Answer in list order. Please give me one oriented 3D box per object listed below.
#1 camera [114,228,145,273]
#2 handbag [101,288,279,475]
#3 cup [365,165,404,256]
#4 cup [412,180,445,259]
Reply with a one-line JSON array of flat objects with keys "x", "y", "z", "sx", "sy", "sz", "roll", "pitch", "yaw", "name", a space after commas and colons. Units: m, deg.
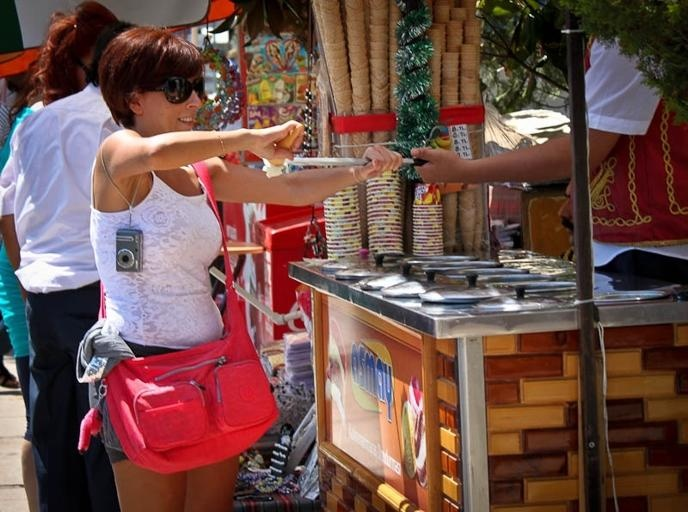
[{"x": -0.672, "y": -0.011, "z": 2.044, "sx": 0.080, "sy": 0.134, "sz": 0.077, "roll": -2, "pitch": -6, "yaw": 17, "name": "camera"}, {"x": -0.481, "y": 0.393, "z": 2.052, "sx": 0.513, "sy": 0.520, "sz": 0.200, "roll": -7, "pitch": 8, "yaw": -23, "name": "handbag"}, {"x": 0.182, "y": -0.197, "z": 2.905, "sx": 0.140, "sy": 0.357, "sz": 0.174, "roll": -4, "pitch": 13, "yaw": -14, "name": "cup"}, {"x": 0.368, "y": -0.160, "z": 2.865, "sx": 0.126, "sy": 0.317, "sz": 0.130, "roll": 2, "pitch": 11, "yaw": 0, "name": "cup"}]
